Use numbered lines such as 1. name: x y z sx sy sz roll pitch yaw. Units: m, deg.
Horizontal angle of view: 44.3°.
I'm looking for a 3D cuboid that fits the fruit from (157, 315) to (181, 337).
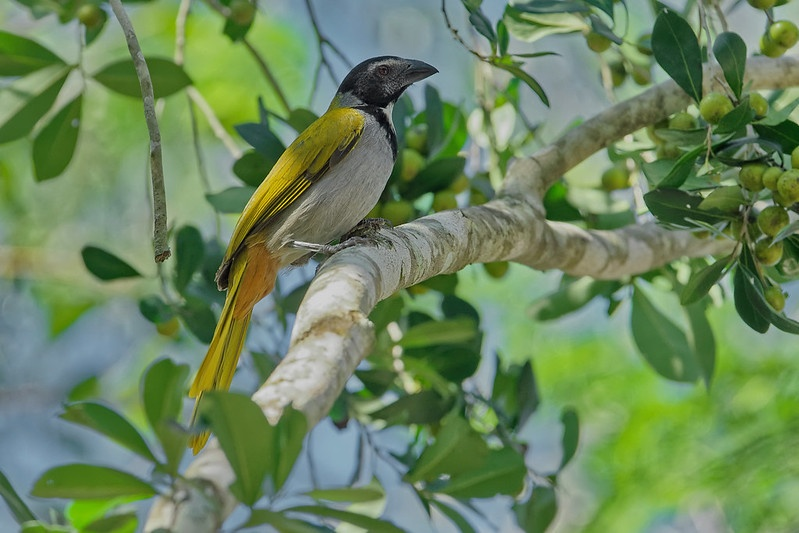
1. fruit: -1.620 0.420 6.835 0.146 0.133 0.236 14 -4 -9
